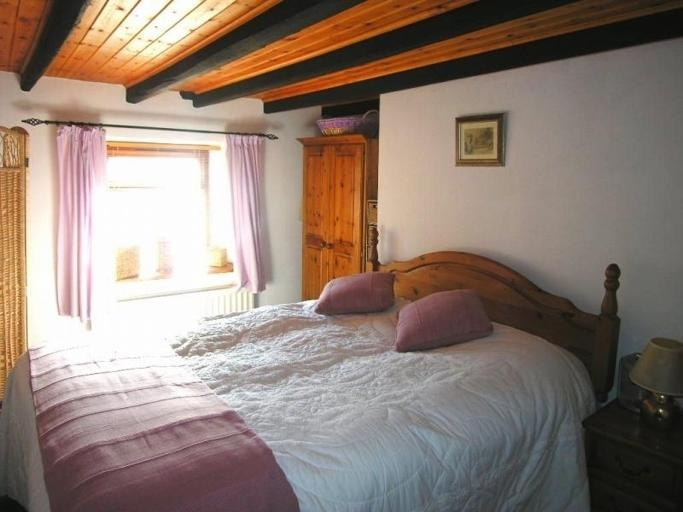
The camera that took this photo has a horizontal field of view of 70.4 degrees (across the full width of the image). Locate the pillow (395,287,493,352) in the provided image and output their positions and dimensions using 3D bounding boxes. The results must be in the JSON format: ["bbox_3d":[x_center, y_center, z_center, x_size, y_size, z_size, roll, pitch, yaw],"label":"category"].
[{"bbox_3d":[0.659,0.421,3.186,0.615,0.337,0.344,0,8,-1],"label":"pillow"}]

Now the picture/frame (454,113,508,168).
[{"bbox_3d":[1.026,-0.831,3.508,0.036,0.421,0.445,-8,10,-43],"label":"picture/frame"}]
